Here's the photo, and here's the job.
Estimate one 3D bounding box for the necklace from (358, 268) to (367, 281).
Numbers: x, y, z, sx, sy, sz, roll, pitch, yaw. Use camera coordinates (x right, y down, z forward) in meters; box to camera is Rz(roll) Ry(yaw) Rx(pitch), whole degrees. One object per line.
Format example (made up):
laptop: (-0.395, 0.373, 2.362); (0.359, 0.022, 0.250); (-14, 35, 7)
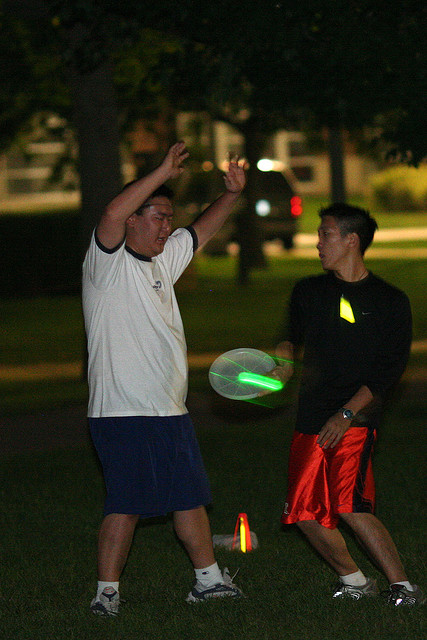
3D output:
necklace: (0.622, -0.193, 3.015); (0.003, 0.050, 0.041); (38, 9, 35)

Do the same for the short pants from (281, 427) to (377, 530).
short pants: (0.486, 0.648, 2.987); (0.374, 0.449, 0.188); (4, 6, 10)

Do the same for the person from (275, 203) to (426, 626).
person: (0.593, 0.362, 3.002); (0.714, 1.702, 0.350); (6, 7, 25)

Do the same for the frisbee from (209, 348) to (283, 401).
frisbee: (0.174, 0.251, 3.274); (0.425, 0.227, 0.196); (6, 6, 39)

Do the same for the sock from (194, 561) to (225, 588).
sock: (-0.017, 1.119, 3.189); (0.132, 0.106, 0.076); (-20, -3, 1)
